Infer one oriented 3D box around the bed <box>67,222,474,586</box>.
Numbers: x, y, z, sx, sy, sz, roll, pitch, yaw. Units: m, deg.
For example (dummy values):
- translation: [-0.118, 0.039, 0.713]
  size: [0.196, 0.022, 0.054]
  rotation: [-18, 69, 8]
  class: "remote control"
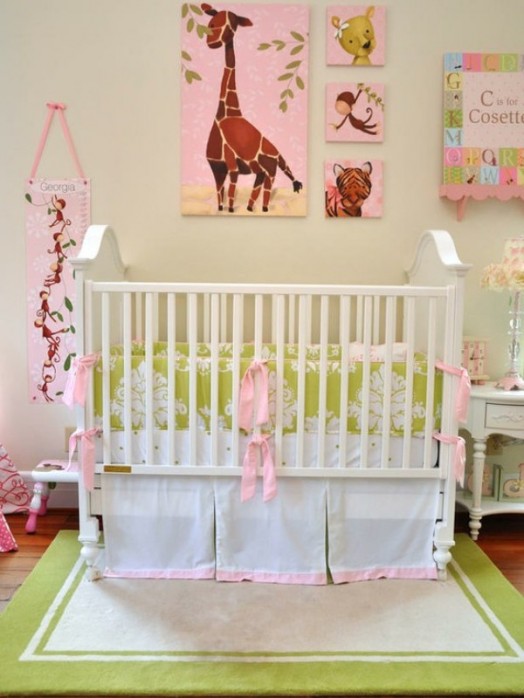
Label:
- translation: [0.074, 0.345, 2.650]
  size: [1.701, 1.500, 1.136]
  rotation: [0, 4, 0]
  class: "bed"
